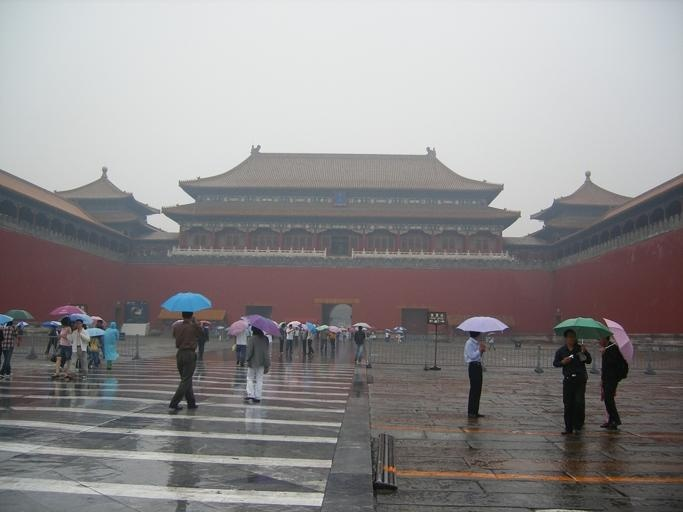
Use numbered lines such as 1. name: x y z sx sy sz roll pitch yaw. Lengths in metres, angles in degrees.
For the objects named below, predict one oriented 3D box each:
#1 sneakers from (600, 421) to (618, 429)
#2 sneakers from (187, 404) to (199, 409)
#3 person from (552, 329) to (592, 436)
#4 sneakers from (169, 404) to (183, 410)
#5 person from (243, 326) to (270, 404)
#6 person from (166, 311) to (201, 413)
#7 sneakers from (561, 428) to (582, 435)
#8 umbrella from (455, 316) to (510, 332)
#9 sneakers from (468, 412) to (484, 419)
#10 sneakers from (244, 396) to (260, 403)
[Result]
1. sneakers: 4.828 3.026 14.427 0.334 0.159 0.115 0 -10 22
2. sneakers: -2.794 2.801 15.071 0.225 0.077 0.151 5 -10 -32
3. person: 4.140 2.202 14.299 0.625 1.830 0.635 -3 -9 17
4. sneakers: -3.098 2.801 15.008 0.251 0.099 0.318 1 -9 -14
5. person: -1.680 2.138 16.012 0.466 1.486 0.565 0 -8 -7
6. person: -3.012 1.990 15.562 0.599 1.884 1.362 1 -9 -11
7. sneakers: 4.042 3.059 14.002 0.370 0.166 0.127 -1 -9 35
8. umbrella: 2.788 1.318 15.761 0.784 0.351 0.702 6 -11 -38
9. sneakers: 2.568 2.968 15.048 0.426 0.094 0.227 6 -11 -40
10. sneakers: -1.763 2.806 15.798 0.322 0.152 0.112 1 -6 -5
